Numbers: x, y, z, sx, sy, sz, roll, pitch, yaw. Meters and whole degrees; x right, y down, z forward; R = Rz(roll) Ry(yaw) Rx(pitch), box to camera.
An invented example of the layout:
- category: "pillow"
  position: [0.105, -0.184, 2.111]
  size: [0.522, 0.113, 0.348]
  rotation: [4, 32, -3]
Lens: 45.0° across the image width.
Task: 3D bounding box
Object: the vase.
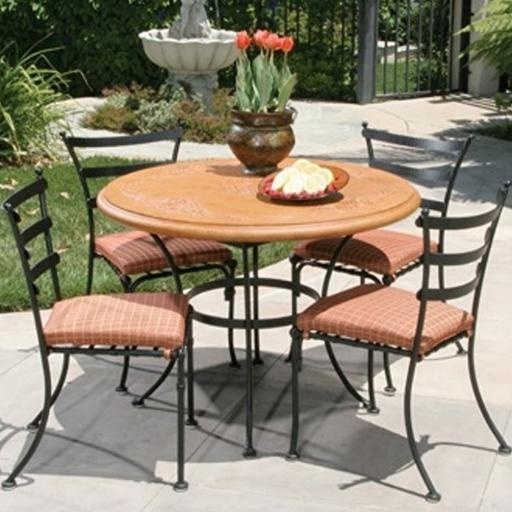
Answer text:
- category: "vase"
  position: [0.036, -0.510, 2.769]
  size: [0.230, 0.274, 0.242]
  rotation: [-16, 23, -33]
